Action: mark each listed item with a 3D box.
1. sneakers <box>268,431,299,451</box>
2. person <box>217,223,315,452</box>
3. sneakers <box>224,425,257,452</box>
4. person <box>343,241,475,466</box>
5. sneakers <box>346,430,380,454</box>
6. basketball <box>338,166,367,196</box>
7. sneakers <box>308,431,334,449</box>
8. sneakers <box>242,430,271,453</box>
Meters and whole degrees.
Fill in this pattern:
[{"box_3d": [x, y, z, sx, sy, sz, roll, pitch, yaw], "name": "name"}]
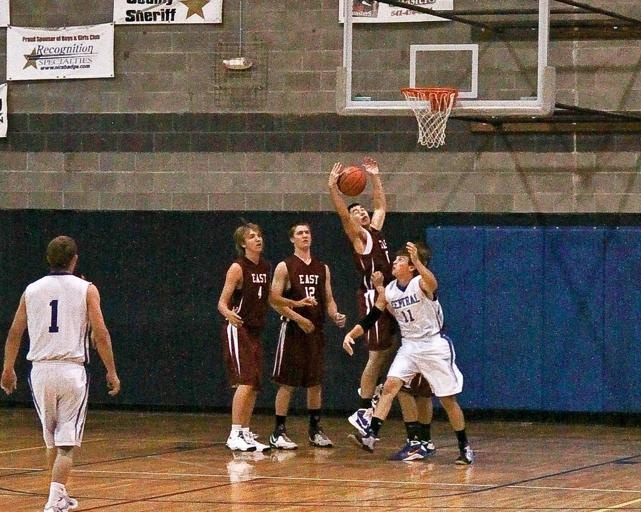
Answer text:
[{"box_3d": [-0.393, 1.868, 11.838, 0.342, 0.162, 0.119, -9, -14, 41], "name": "sneakers"}, {"box_3d": [-0.755, 0.809, 11.664, 0.503, 2.172, 0.668, 2, 11, 2], "name": "person"}, {"box_3d": [-0.757, 1.825, 11.574, 0.405, 0.211, 0.142, 2, -18, 17], "name": "sneakers"}, {"box_3d": [0.909, 0.867, 10.910, 1.025, 2.044, 0.500, 2, 11, 2], "name": "person"}, {"box_3d": [0.374, 1.744, 10.942, 0.242, 0.245, 0.221, 1, 11, -1], "name": "sneakers"}, {"box_3d": [0.322, -0.781, 12.279, 0.281, 0.356, 0.289, 19, 7, 1], "name": "basketball"}, {"box_3d": [-0.014, 1.869, 11.935, 0.110, 0.142, 0.299, -1, -6, -38], "name": "sneakers"}, {"box_3d": [-0.694, 1.836, 11.670, 0.367, 0.164, 0.123, 17, 4, -11], "name": "sneakers"}]
